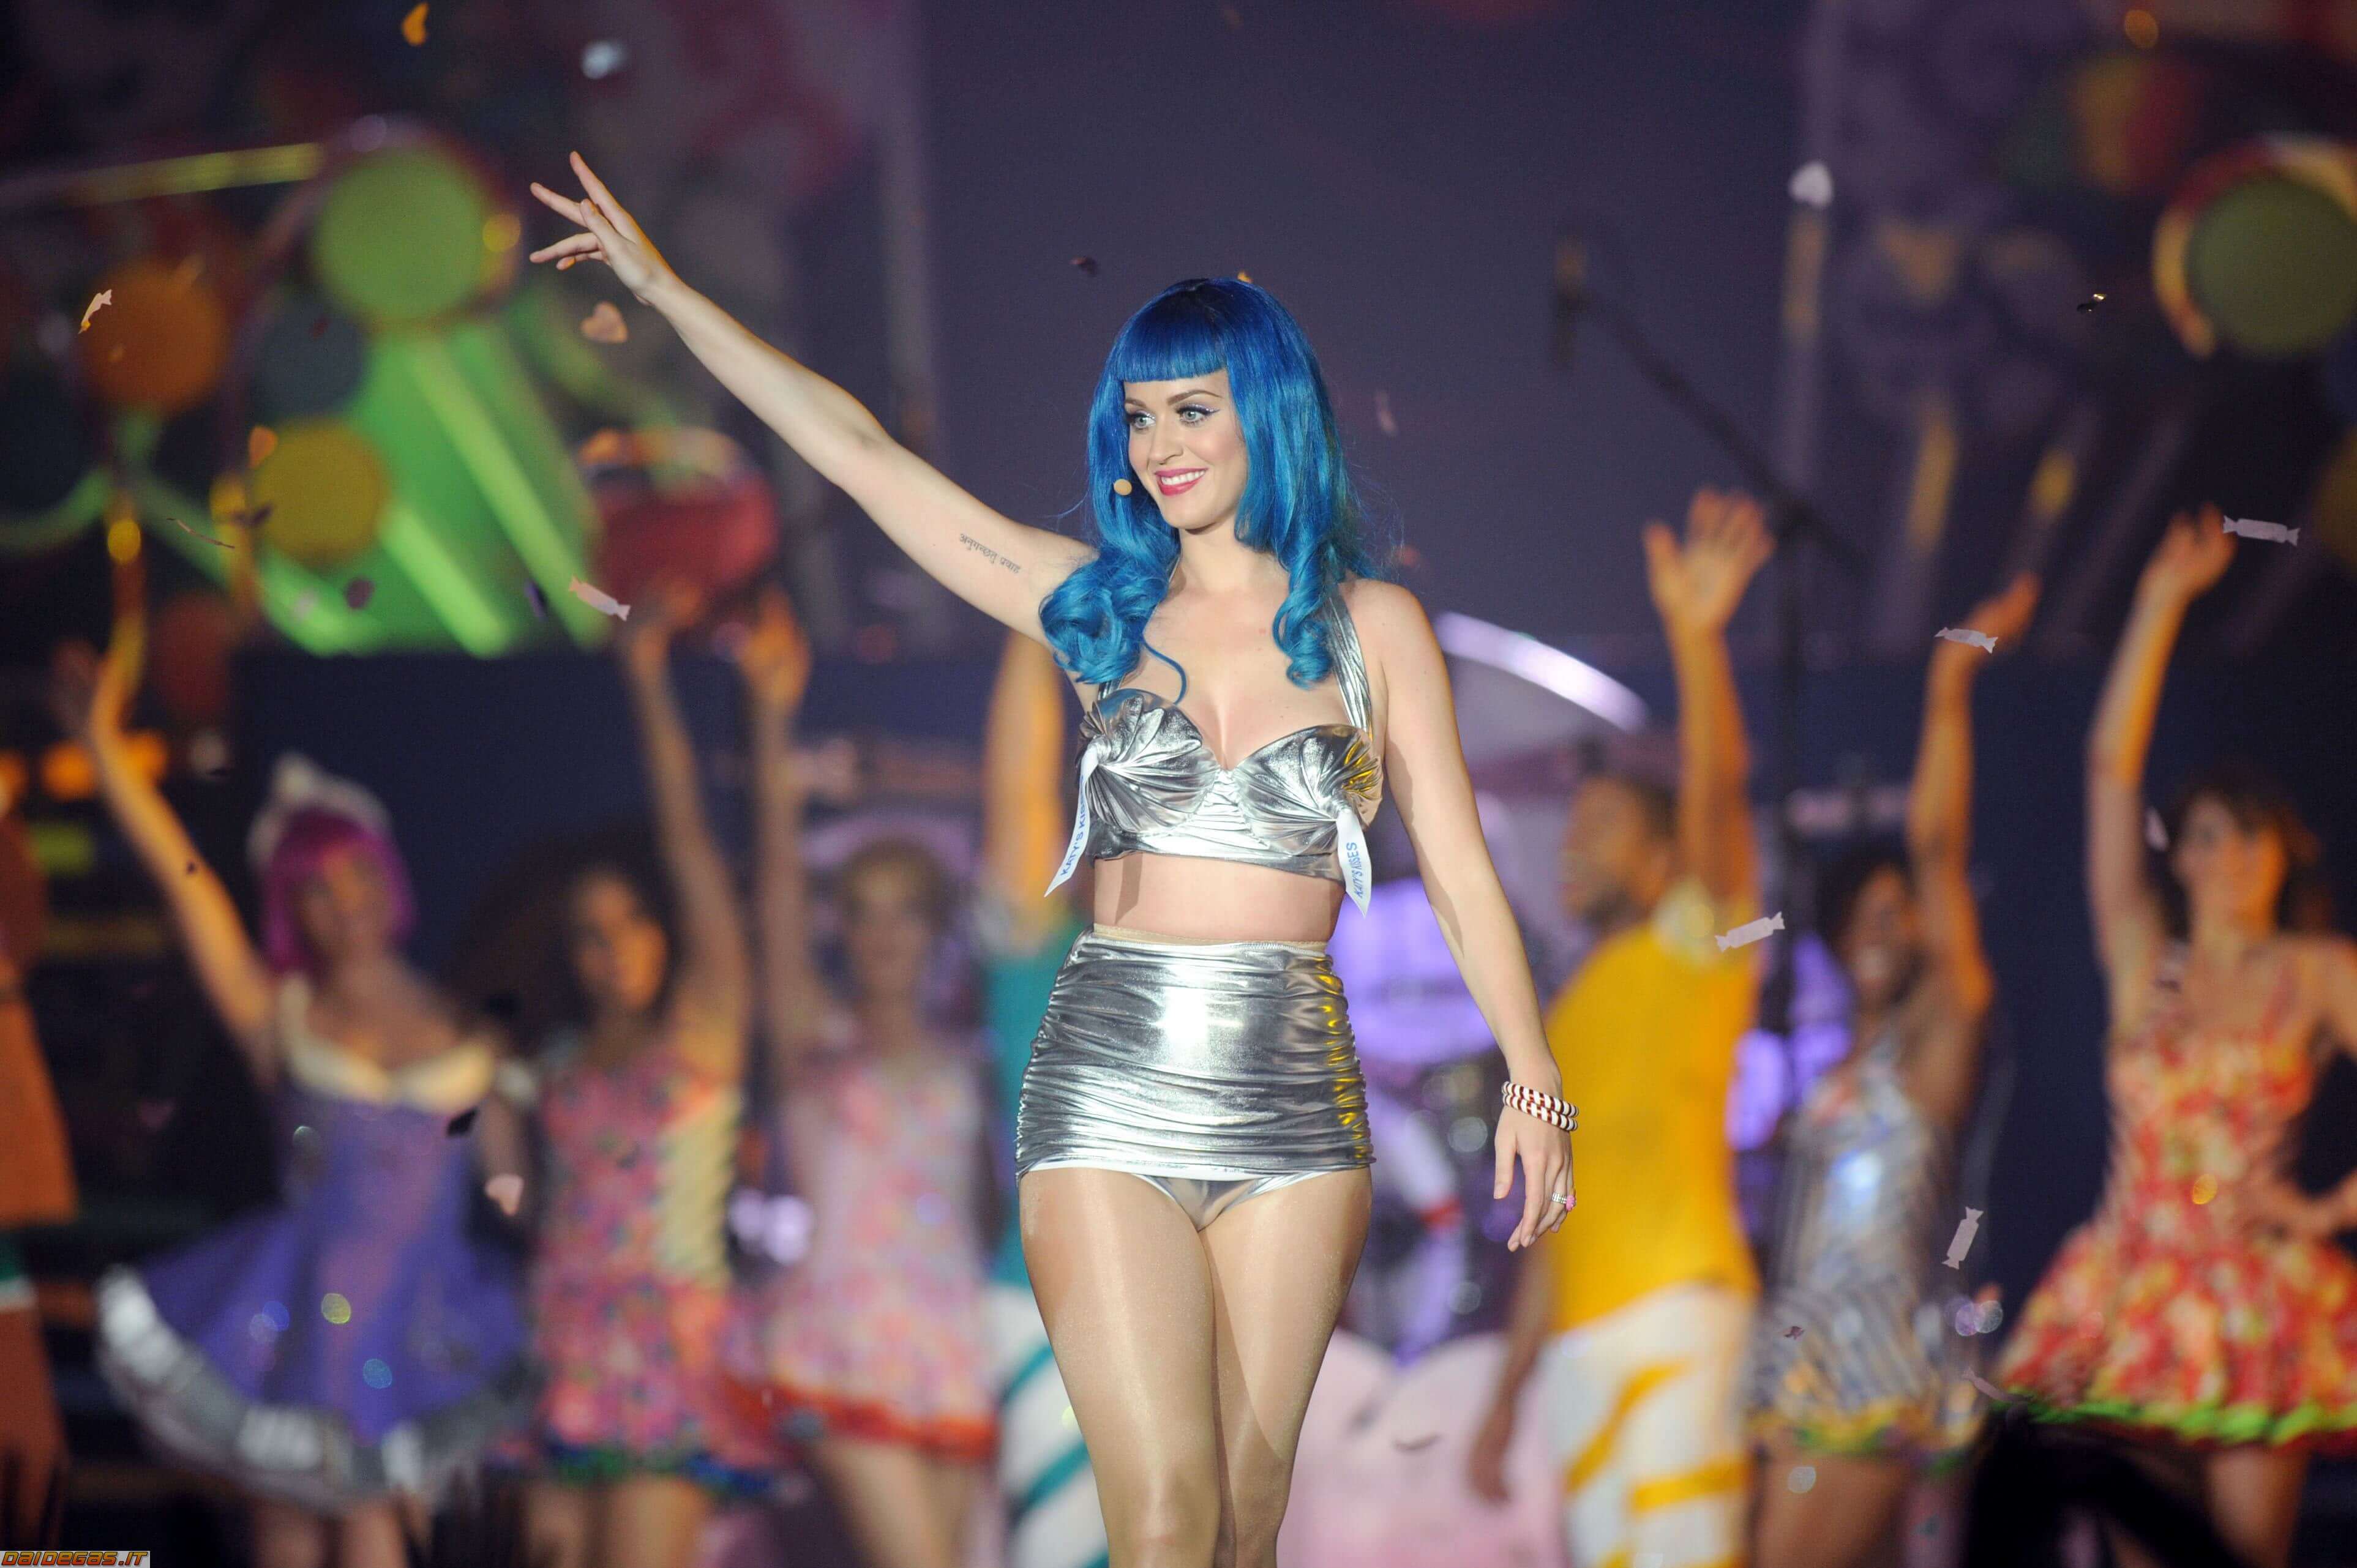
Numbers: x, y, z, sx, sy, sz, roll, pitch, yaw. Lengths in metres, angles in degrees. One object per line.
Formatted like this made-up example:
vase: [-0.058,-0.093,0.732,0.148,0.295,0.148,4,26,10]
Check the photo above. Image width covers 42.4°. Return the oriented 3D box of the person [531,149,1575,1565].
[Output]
person: [0.025,0.234,6.023,0.940,2.273,1.541,-21,-40,32]
